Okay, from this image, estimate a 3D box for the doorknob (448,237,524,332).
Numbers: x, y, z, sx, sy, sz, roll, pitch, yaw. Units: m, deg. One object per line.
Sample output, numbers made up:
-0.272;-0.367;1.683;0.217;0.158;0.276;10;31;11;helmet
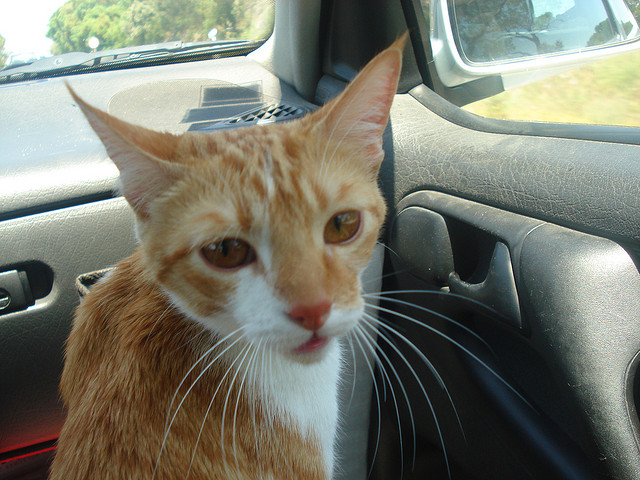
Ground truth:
0.506;0.143;1.649;0.153;0.264;0.103;10;17;32;doorknob
